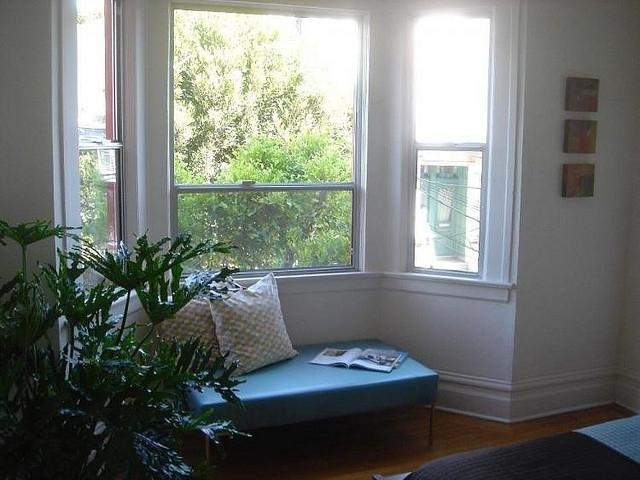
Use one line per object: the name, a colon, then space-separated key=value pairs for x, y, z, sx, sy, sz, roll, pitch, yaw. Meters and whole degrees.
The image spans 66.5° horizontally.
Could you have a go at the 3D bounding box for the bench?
bench: x=-0.030 y=1.116 z=3.188 sx=1.548 sy=0.534 sz=0.648 roll=-4 pitch=11 yaw=-23

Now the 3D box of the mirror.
mirror: x=-0.493 y=0.614 z=3.345 sx=0.504 sy=0.552 sz=0.158 roll=-8 pitch=-9 yaw=-42
